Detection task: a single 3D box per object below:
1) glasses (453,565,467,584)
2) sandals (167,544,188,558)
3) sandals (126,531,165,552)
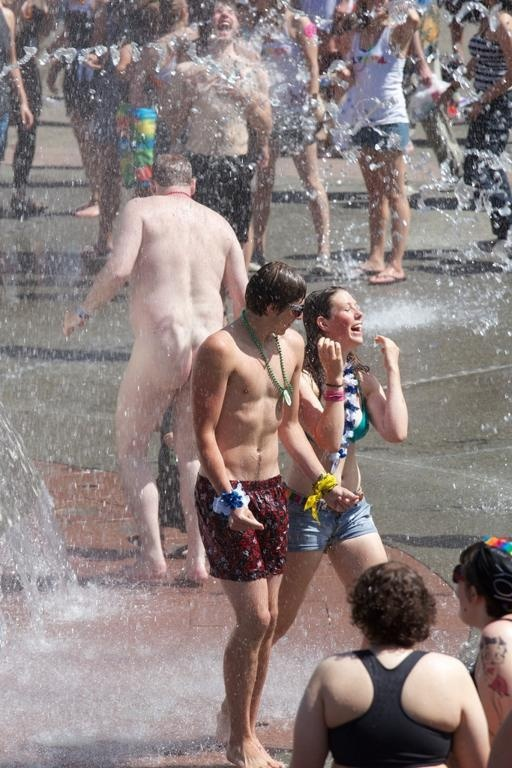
[{"bbox_3d":[0.425,0.400,2.584,0.023,0.018,0.034,5,13,-9],"label":"glasses"},{"bbox_3d":[-0.291,0.620,4.627,0.067,0.029,0.129,0,15,-2],"label":"sandals"},{"bbox_3d":[-0.415,0.589,4.722,0.060,0.106,0.214,-2,-10,-27],"label":"sandals"}]
